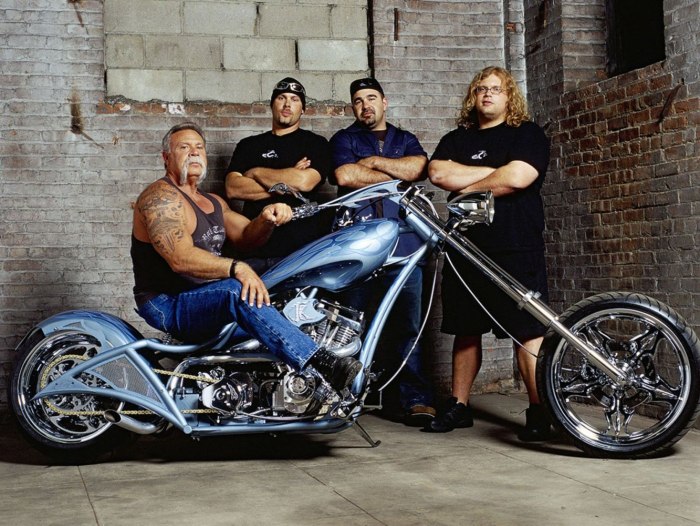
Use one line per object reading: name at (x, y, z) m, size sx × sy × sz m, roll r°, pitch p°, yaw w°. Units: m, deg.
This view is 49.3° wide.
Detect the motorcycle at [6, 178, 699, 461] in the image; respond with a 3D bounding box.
motorcycle at (-0.048, 0.303, 3.941) m, size 3.450 × 1.459 × 0.570 m, roll -1°, pitch 4°, yaw -2°

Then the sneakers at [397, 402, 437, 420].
sneakers at (0.417, 0.914, 4.748) m, size 0.234 × 0.085 × 0.084 m, roll 0°, pitch 0°, yaw 22°

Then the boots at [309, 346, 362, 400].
boots at (-0.080, 0.518, 3.708) m, size 0.160 × 0.117 × 0.364 m, roll 5°, pitch 26°, yaw -46°
